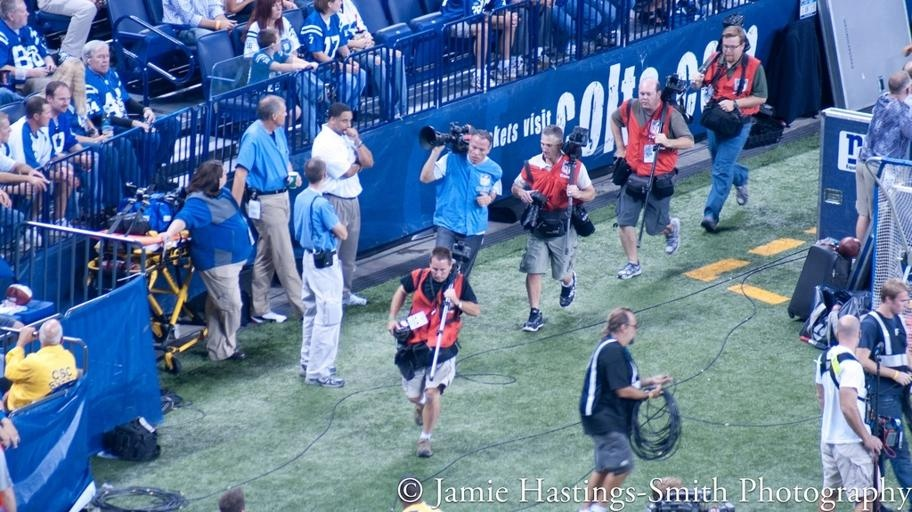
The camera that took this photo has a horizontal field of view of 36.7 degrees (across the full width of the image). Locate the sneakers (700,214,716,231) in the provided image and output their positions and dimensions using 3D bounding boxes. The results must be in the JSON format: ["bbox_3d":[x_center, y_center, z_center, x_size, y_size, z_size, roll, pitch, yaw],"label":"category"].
[{"bbox_3d":[3.775,-0.534,20.551,0.174,0.274,0.275,5,5,19],"label":"sneakers"}]

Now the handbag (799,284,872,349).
[{"bbox_3d":[4.877,0.755,17.850,0.458,0.765,0.778,-13,18,-38],"label":"handbag"}]

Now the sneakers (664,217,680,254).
[{"bbox_3d":[3.067,-0.299,19.953,0.241,0.544,0.188,3,8,-45],"label":"sneakers"}]

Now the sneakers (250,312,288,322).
[{"bbox_3d":[-2.547,0.839,18.741,0.475,0.190,0.171,-1,9,-1],"label":"sneakers"}]

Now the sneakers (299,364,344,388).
[{"bbox_3d":[-1.744,1.538,17.729,0.686,0.273,0.226,0,21,-3],"label":"sneakers"}]

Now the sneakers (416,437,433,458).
[{"bbox_3d":[-0.382,2.324,16.632,0.169,0.236,0.095,-1,-2,-1],"label":"sneakers"}]

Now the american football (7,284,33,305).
[{"bbox_3d":[-5.238,0.463,16.671,0.277,0.206,0.256,7,2,38],"label":"american football"}]

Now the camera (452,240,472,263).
[{"bbox_3d":[0.079,-0.047,17.246,0.177,0.107,0.303,15,1,7],"label":"camera"}]

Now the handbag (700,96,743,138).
[{"bbox_3d":[3.913,-2.063,20.232,0.663,0.647,0.376,14,50,38],"label":"handbag"}]

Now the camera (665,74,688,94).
[{"bbox_3d":[3.071,-2.412,19.158,0.287,0.136,0.390,9,10,15],"label":"camera"}]

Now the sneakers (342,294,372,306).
[{"bbox_3d":[-1.380,0.607,19.050,0.392,0.128,0.282,2,-5,28],"label":"sneakers"}]

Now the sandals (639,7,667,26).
[{"bbox_3d":[3.176,-3.900,22.248,0.370,0.259,0.095,11,-5,-5],"label":"sandals"}]

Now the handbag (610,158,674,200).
[{"bbox_3d":[2.584,-1.038,19.332,0.631,0.630,0.312,9,24,13],"label":"handbag"}]

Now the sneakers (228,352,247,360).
[{"bbox_3d":[-2.871,1.323,18.102,0.220,0.098,0.093,-13,27,-2],"label":"sneakers"}]

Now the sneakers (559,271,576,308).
[{"bbox_3d":[1.533,0.474,18.848,0.174,0.502,0.226,16,21,24],"label":"sneakers"}]
